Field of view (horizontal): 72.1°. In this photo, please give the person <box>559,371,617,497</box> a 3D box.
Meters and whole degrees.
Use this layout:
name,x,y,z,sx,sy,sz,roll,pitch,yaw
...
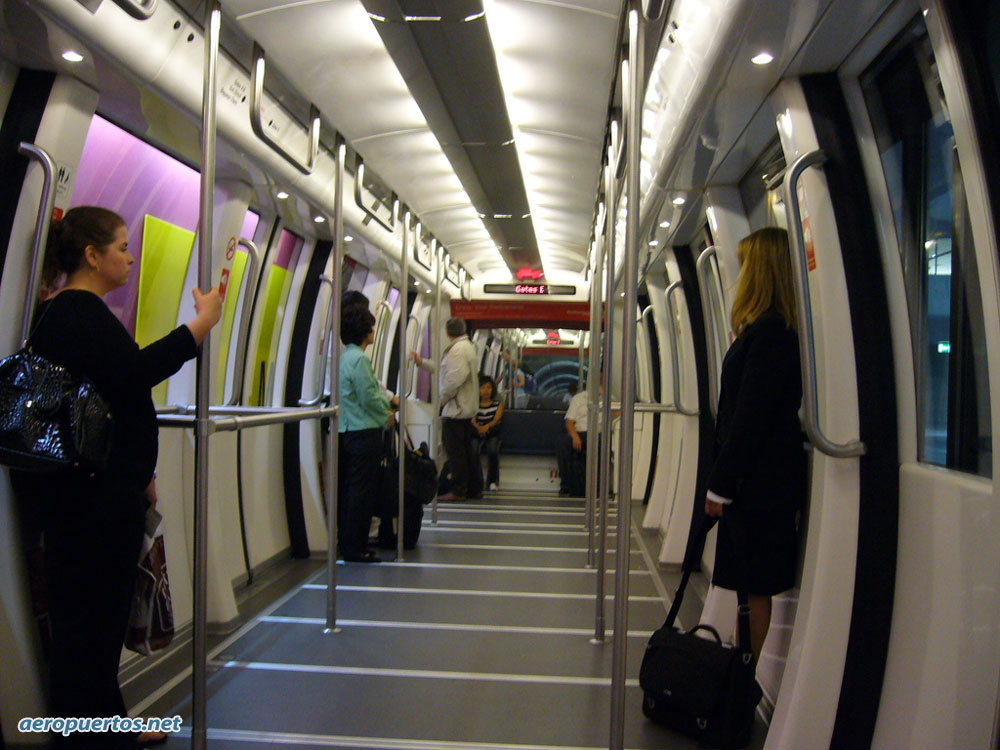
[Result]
name,x,y,z,sx,sy,sz,roll,pitch,yaw
person,1.502,1.065,11.396,0.653,2.286,0.623,-8,29,-9

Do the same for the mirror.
name,x,y,z,sx,sy,sz,roll,pitch,yaw
mirror,0.798,0.103,15.460,1.960,0.552,2.099,5,45,0

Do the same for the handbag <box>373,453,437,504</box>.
name,x,y,z,sx,sy,sz,roll,pitch,yaw
handbag,-0.926,1.114,7.639,0.513,0.626,0.405,5,20,8

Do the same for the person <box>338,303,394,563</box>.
name,x,y,z,sx,sy,sz,roll,pitch,yaw
person,-1.424,0.599,7.195,0.504,2.091,0.422,1,0,-13

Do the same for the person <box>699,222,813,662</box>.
name,x,y,z,sx,sy,sz,roll,pitch,yaw
person,1.412,0.291,3.813,0.501,2.233,0.403,0,0,26
